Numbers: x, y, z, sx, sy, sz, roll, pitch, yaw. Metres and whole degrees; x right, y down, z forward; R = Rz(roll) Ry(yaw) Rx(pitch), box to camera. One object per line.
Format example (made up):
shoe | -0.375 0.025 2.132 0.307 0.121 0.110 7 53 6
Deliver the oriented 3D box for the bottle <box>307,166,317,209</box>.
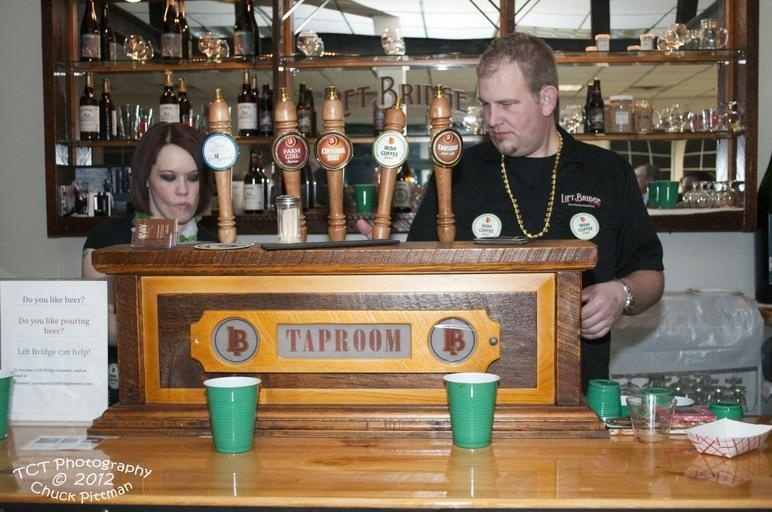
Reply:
bottle | -0.455 -0.429 5.056 0.076 0.205 0.227 0 16 -3

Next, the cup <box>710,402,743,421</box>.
cup | 1.134 0.509 2.749 0.067 0.047 0.068 -1 4 0

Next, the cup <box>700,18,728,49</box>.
cup | 1.873 -1.289 4.825 0.216 0.198 0.124 1 2 17

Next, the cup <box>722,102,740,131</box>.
cup | 2.032 -0.811 4.850 0.105 0.169 0.078 6 12 27

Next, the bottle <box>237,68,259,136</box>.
bottle | -0.850 -0.932 5.079 0.128 0.384 0.217 -1 11 -10

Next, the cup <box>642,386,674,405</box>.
cup | 0.899 0.455 2.721 0.069 0.062 0.068 0 -4 0

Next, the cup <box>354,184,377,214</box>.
cup | -0.124 -0.337 4.907 0.120 0.178 0.190 1 10 0

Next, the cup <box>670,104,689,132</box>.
cup | 1.765 -0.821 4.963 0.104 0.163 0.118 4 11 17

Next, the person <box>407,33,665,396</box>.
person | 0.696 -0.350 3.382 0.833 1.085 0.671 9 13 38

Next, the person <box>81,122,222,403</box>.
person | -0.996 -0.037 3.518 0.570 1.035 0.865 -3 11 -20

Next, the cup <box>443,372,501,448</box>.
cup | 0.234 0.498 2.702 0.234 0.238 0.221 -1 -2 0

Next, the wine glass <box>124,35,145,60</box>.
wine glass | -1.537 -1.273 5.101 0.152 0.142 0.154 -1 5 -4

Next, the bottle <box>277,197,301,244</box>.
bottle | -0.330 -0.128 2.840 0.082 0.159 0.061 -3 11 -22

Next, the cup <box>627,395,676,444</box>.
cup | 0.856 0.523 2.673 0.160 0.129 0.153 0 -5 0

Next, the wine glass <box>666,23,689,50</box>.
wine glass | 1.720 -1.290 4.896 0.123 0.156 0.112 -1 11 -9

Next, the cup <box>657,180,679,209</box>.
cup | 1.641 -0.357 4.857 0.163 0.132 0.147 0 -1 15

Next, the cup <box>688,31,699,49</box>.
cup | 1.812 -1.268 4.859 0.059 0.103 0.050 3 11 11

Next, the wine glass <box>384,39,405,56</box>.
wine glass | 0.052 -1.256 4.994 0.121 0.082 0.088 -3 17 4

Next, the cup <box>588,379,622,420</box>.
cup | 0.742 0.488 2.820 0.129 0.128 0.125 0 4 0

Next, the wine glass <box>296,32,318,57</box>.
wine glass | -0.460 -1.257 4.972 0.158 0.137 0.150 0 3 -2
